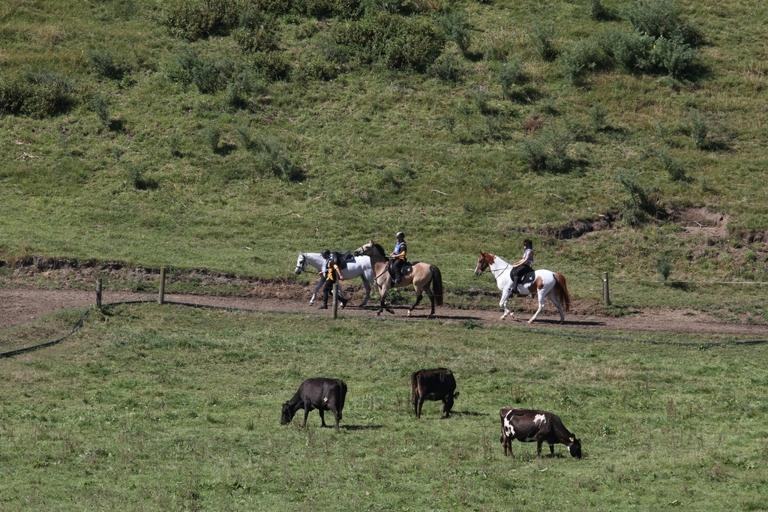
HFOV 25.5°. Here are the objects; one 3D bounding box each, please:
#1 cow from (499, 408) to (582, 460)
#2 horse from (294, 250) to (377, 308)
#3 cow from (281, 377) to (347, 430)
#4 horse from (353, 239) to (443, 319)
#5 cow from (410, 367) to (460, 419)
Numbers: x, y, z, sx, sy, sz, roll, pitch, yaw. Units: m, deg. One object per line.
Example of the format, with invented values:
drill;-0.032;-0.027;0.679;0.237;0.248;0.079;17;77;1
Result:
cow;7.932;9.250;88.233;4.314;2.419;1.496;7;10;21
horse;-2.727;1.466;100.334;5.018;3.256;1.246;1;-1;-9
cow;-3.760;7.827;89.608;4.224;2.527;1.416;-7;-5;39
horse;0.802;1.383;99.715;5.272;4.390;1.502;2;-3;4
cow;2.516;7.225;89.904;2.334;2.647;1.591;0;-7;1
